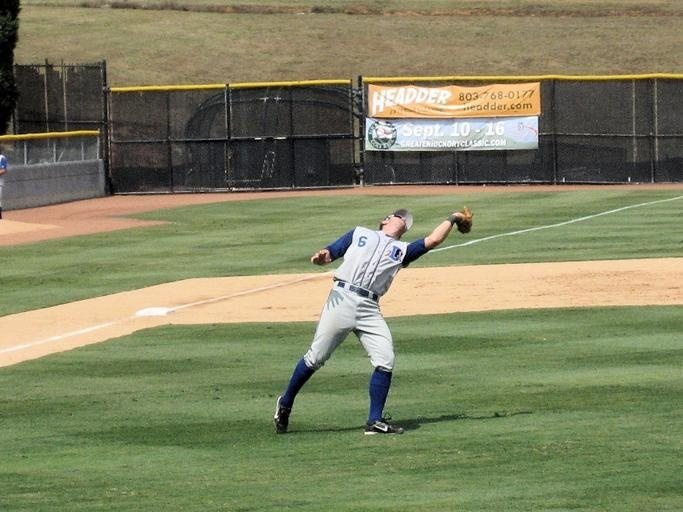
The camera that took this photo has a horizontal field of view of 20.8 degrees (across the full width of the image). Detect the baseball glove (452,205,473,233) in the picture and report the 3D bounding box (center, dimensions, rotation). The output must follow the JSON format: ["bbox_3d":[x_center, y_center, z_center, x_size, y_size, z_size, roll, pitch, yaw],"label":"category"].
[{"bbox_3d":[3.138,-0.885,48.396,0.255,0.642,0.532,6,-13,-14],"label":"baseball glove"}]

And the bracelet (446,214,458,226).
[{"bbox_3d":[2.785,-0.860,48.251,0.285,0.200,0.285,8,15,16],"label":"bracelet"}]
